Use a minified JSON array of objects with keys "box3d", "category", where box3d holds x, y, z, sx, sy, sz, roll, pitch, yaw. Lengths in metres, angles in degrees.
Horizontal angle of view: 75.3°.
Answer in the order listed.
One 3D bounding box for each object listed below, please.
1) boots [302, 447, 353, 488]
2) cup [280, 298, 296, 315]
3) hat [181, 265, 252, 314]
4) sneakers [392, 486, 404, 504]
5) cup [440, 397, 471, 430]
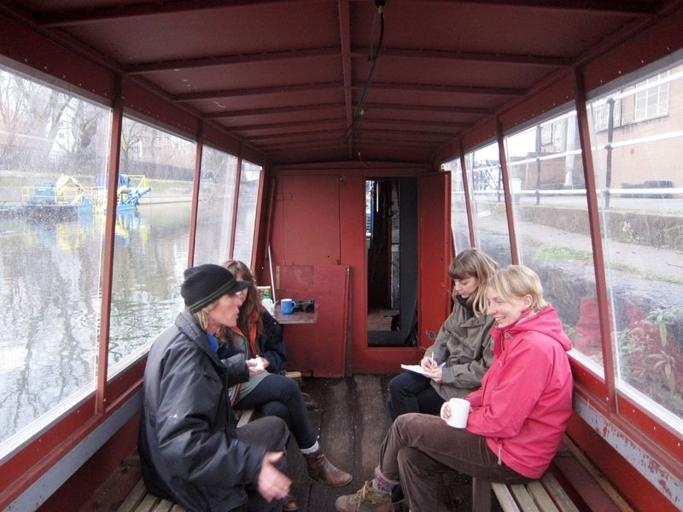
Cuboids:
[{"box3d":[-0.119,1.755,3.831,0.509,0.395,0.208,0,13,11],"category":"boots"},{"box3d":[-0.645,0.618,5.354,0.185,0.178,0.127,0,0,-10],"category":"cup"},{"box3d":[-0.820,0.171,2.856,0.430,0.270,0.328,-16,11,-13],"category":"hat"},{"box3d":[0.411,1.820,3.392,0.097,0.124,0.131,-2,-2,4],"category":"sneakers"},{"box3d":[0.749,1.031,2.920,0.190,0.158,0.147,0,6,19],"category":"cup"}]
